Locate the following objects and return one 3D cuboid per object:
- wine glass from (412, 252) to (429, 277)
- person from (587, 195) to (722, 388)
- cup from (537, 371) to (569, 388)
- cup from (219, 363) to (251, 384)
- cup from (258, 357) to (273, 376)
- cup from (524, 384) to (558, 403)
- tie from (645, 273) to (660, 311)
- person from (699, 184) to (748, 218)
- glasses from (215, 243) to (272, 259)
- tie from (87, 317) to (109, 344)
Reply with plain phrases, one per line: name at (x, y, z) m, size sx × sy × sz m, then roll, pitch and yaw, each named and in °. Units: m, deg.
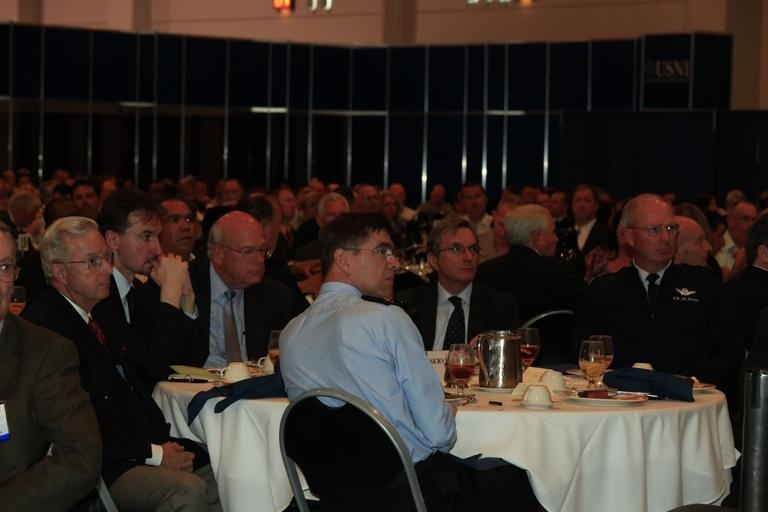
wine glass at (0.325, 0.071, 7.137) m, size 0.187 × 0.202 × 0.185 m, roll 0°, pitch -5°, yaw 3°
person at (1.700, 0.255, 5.212) m, size 0.911 × 1.257 × 0.849 m, roll -2°, pitch -1°, yaw 36°
cup at (0.875, 0.639, 4.297) m, size 0.100 × 0.059 × 0.097 m, roll 2°, pitch 2°, yaw 0°
cup at (-0.799, 0.622, 4.463) m, size 0.148 × 0.099 × 0.093 m, roll -5°, pitch 3°, yaw -20°
cup at (-0.677, 0.615, 4.641) m, size 0.124 × 0.100 × 0.096 m, roll -1°, pitch -1°, yaw -11°
cup at (0.741, 0.669, 4.062) m, size 0.102 × 0.063 × 0.101 m, roll 0°, pitch 1°, yaw 0°
tie at (1.675, 0.227, 5.202) m, size 0.059 × 0.239 × 0.065 m, roll -2°, pitch -29°, yaw 14°
person at (4.388, -0.707, 10.768) m, size 0.744 × 0.300 × 0.746 m, roll -3°, pitch 6°, yaw 27°
glasses at (-0.856, -0.030, 5.299) m, size 0.388 × 0.086 × 0.160 m, roll -2°, pitch 2°, yaw -38°
tie at (-1.513, 0.398, 4.404) m, size 0.035 × 0.139 × 0.104 m, roll -34°, pitch -11°, yaw 5°
